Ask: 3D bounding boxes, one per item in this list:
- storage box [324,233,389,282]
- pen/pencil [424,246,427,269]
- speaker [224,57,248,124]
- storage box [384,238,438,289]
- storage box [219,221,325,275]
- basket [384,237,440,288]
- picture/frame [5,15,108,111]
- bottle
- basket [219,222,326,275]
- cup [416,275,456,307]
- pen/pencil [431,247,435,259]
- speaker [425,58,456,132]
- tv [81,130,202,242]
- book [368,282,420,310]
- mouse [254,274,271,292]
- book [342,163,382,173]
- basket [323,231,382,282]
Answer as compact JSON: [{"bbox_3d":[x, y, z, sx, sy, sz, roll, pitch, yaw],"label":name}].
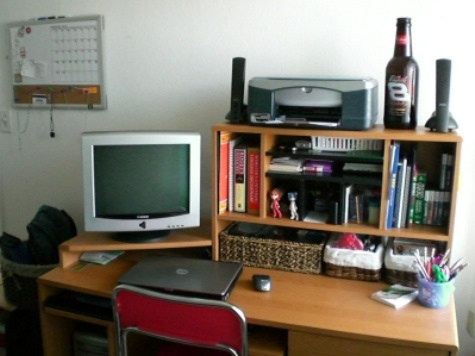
[{"bbox_3d":[0.539,0.426,2.108,0.239,0.125,0.316,6,0,-2],"label":"storage box"},{"bbox_3d":[0.835,0.357,1.821,0.014,0.090,0.008,4,-3,-24],"label":"pen/pencil"},{"bbox_3d":[0.003,-0.435,2.050,0.067,0.323,0.095,2,12,16],"label":"speaker"},{"bbox_3d":[0.785,0.383,1.930,0.181,0.108,0.248,5,11,26],"label":"storage box"},{"bbox_3d":[0.188,0.337,2.110,0.387,0.111,0.259,3,12,18],"label":"storage box"},{"bbox_3d":[0.787,0.390,1.933,0.180,0.104,0.247,5,11,26],"label":"basket"},{"bbox_3d":[-1.144,-0.727,2.613,0.695,0.565,0.051,1,12,15],"label":"picture/frame"},{"bbox_3d":[0.760,-0.476,1.868,0.163,0.497,0.111,-2,11,0],"label":"bottle"},{"bbox_3d":[0.186,0.346,2.109,0.394,0.114,0.262,3,12,18],"label":"basket"},{"bbox_3d":[0.876,0.497,1.820,0.165,0.122,0.160,1,3,0],"label":"cup"},{"bbox_3d":[0.899,0.342,1.894,0.020,0.021,0.077,10,31,18],"label":"pen/pencil"},{"bbox_3d":[0.922,-0.370,1.844,0.130,0.317,0.143,2,12,18],"label":"speaker"},{"bbox_3d":[-0.483,0.054,2.264,0.628,0.570,0.342,-2,3,4],"label":"tv"},{"bbox_3d":[0.713,0.529,1.853,0.188,0.034,0.149,-11,15,-41],"label":"book"},{"bbox_3d":[0.119,0.492,1.920,0.088,0.057,0.071,-1,11,2],"label":"mouse"},{"bbox_3d":[0.600,-0.047,1.964,0.175,0.036,0.050,2,11,16],"label":"book"},{"bbox_3d":[0.581,0.371,2.042,0.270,0.217,0.200,3,12,20],"label":"basket"}]
